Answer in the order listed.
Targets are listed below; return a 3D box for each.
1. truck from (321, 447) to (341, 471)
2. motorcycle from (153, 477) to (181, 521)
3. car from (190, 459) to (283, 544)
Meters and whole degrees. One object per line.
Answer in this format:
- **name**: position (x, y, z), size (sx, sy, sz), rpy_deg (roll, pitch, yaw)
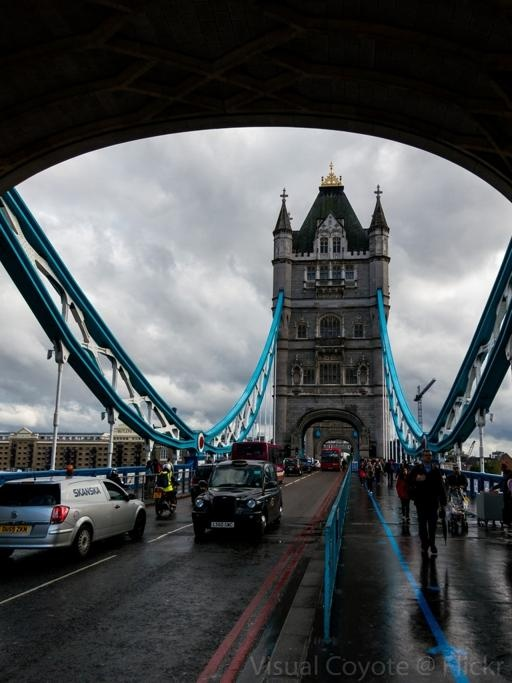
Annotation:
- **truck**: position (8.220, 12.987, 59.790), size (1.174, 1.466, 3.473), rpy_deg (-2, -33, 9)
- **motorcycle**: position (-2.764, 4.930, 16.661), size (0.639, 1.128, 1.621), rpy_deg (0, -3, 11)
- **car**: position (-0.422, 3.582, 12.338), size (1.539, 1.650, 2.314), rpy_deg (0, -11, 14)
